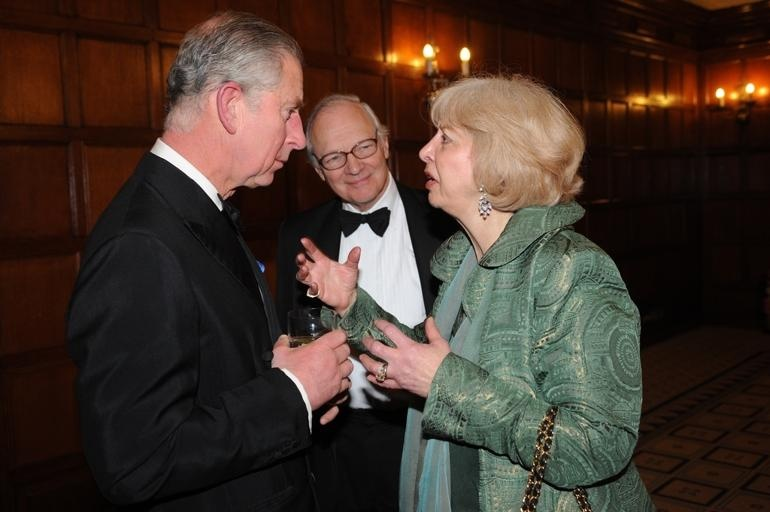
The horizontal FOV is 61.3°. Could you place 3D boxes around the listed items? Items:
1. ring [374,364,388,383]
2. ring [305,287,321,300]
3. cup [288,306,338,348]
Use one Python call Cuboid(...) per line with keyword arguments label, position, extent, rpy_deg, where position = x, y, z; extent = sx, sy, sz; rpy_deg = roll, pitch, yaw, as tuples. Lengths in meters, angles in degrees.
Cuboid(label="ring", position=(-0.010, 0.511, 2.838), extent=(0.049, 0.070, 0.033), rpy_deg=(5, -6, 6))
Cuboid(label="ring", position=(-0.370, 0.183, 3.348), extent=(0.072, 0.041, 0.100), rpy_deg=(4, -21, 0))
Cuboid(label="cup", position=(-0.339, 0.335, 3.056), extent=(0.169, 0.198, 0.173), rpy_deg=(0, -15, 0))
